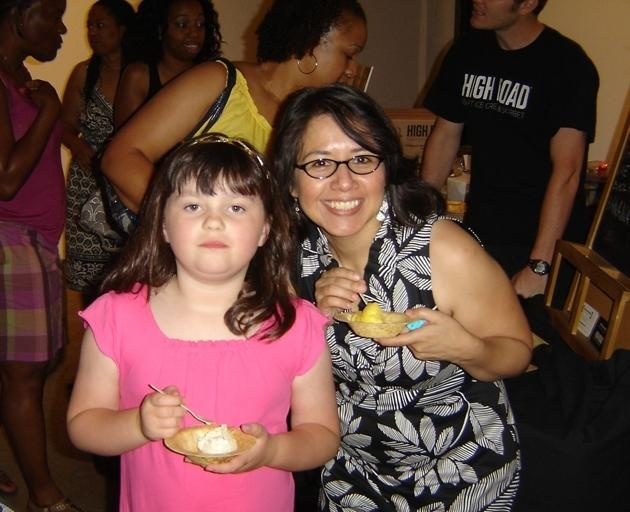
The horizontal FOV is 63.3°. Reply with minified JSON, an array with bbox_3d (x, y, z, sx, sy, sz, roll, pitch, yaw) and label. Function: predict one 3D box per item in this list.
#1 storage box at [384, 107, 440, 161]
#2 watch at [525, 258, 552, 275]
[{"bbox_3d":[0.673,-1.014,4.048,0.386,0.362,0.262,6,46,10],"label":"storage box"},{"bbox_3d":[1.233,0.056,2.791,0.110,0.072,0.107,14,1,11],"label":"watch"}]
